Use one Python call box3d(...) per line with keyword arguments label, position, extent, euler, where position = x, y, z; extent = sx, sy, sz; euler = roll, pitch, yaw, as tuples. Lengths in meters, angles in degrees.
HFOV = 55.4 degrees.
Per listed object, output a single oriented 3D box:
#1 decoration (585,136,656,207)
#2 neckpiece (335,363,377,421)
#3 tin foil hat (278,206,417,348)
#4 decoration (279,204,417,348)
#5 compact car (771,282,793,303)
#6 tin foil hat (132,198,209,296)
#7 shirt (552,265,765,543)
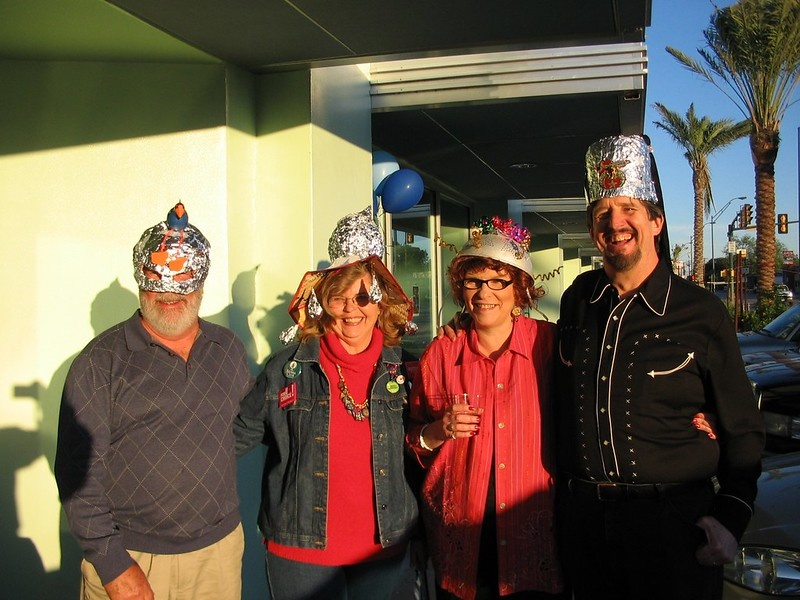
box3d(label="decoration", position=(1.272, -0.709, 4.371), extent=(0.380, 0.430, 0.357), euler=(8, -10, -38))
box3d(label="neckpiece", position=(-0.272, 0.552, 4.379), extent=(0.054, 0.248, 0.161), euler=(-21, -4, 38))
box3d(label="tin foil hat", position=(-0.285, -0.287, 4.656), extent=(0.528, 0.647, 0.464), euler=(4, 7, -37))
box3d(label="decoration", position=(-0.291, -0.286, 4.716), extent=(0.667, 0.831, 0.604), euler=(-6, 32, -32))
box3d(label="compact car", position=(14.372, -0.287, 28.556), extent=(0.668, 0.701, 1.698), euler=(3, 19, 20))
box3d(label="tin foil hat", position=(-1.307, -0.346, 4.436), extent=(0.408, 0.492, 0.584), euler=(7, 22, -8))
box3d(label="shirt", position=(1.325, 0.604, 4.012), extent=(1.356, 1.525, 0.657), euler=(-1, -6, 44))
